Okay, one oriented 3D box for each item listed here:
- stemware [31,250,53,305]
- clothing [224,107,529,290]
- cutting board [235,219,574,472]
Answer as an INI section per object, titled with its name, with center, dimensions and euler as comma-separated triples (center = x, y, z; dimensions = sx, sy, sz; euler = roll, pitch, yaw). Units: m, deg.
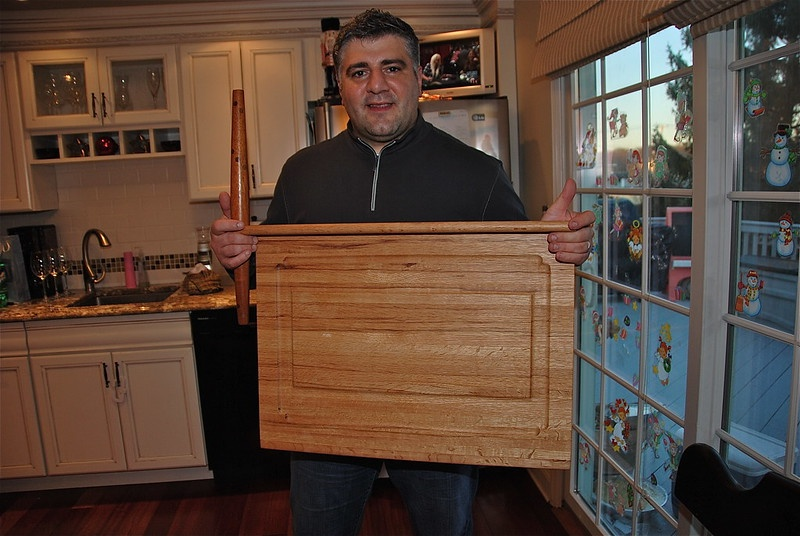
[stemware]
center = -2.257, 0.050, 3.966
dimensions = 0.112, 0.308, 0.186
euler = -10, 11, -30
[clothing]
center = -0.036, -0.271, 2.407
dimensions = 1.076, 0.552, 0.424
euler = -2, -7, 5
[cutting board]
center = 0.040, 0.238, 2.080
dimensions = 0.921, 0.669, 0.089
euler = 0, -2, 5
